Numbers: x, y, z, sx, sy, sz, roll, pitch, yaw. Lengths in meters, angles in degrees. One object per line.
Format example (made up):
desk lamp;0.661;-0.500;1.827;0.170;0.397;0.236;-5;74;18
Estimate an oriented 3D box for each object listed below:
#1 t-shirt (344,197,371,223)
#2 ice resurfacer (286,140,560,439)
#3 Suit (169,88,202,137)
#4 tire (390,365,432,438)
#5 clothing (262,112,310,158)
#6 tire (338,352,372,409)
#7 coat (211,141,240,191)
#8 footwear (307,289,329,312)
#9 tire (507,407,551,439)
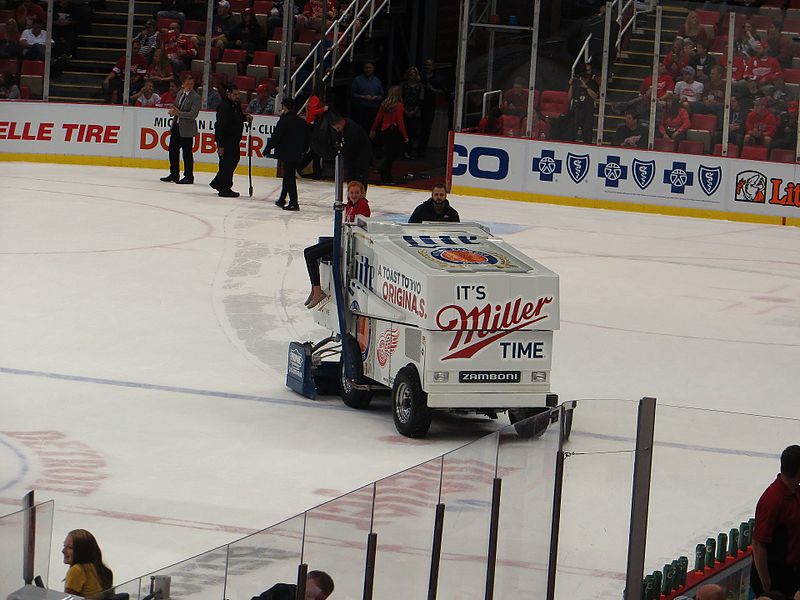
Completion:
t-shirt;-0.486;-0.997;17.759;0.224;0.349;0.399;8;23;19
ice resurfacer;0.258;-0.118;19.032;2.399;3.074;4.286;-4;13;-28
Suit;-3.826;-3.324;28.516;0.469;0.844;0.386;5;6;15
tire;0.120;1.047;16.496;0.268;0.692;0.769;-2;8;-24
clothing;-1.790;-2.754;27.177;0.997;0.815;0.504;13;7;10
tire;-0.480;0.877;17.310;0.213;0.509;0.554;0;19;-25
coat;-3.039;-2.411;27.812;0.544;1.091;0.453;-1;-4;-4
footwear;-0.960;0.014;17.907;0.271;0.104;0.134;-33;10;23
tire;1.105;1.051;13.647;0.196;0.405;0.445;2;-2;-15
